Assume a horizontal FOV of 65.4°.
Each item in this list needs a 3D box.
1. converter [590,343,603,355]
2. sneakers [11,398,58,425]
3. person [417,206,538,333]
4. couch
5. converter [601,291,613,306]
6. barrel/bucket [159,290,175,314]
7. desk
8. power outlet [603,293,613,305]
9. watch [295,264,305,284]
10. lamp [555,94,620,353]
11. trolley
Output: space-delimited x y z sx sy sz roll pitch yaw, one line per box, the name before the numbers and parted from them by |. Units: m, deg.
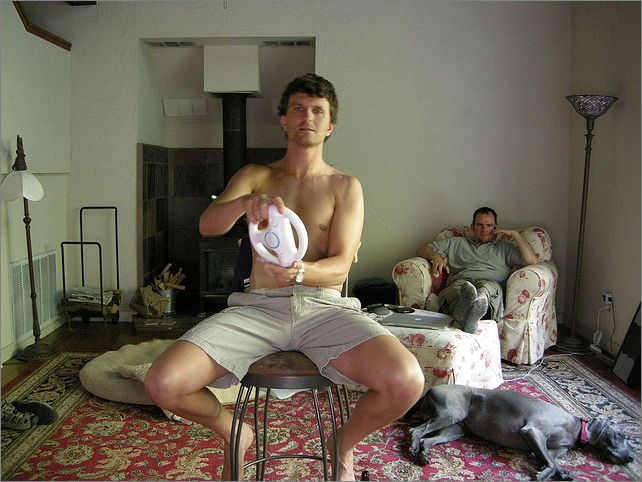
converter | 2.081 0.811 3.758 0.068 0.052 0.019 31 -6 39
sneakers | -1.616 0.939 2.815 0.275 0.110 0.106 6 21 9
person | 1.149 0.186 3.598 0.678 0.550 0.950 5 12 21
couch | 1.329 0.375 4.130 1.196 1.029 0.941 1 3 41
converter | 2.162 0.433 3.741 0.068 0.121 0.130 1 -4 6
barrel/bucket | -1.375 0.533 4.431 0.135 0.218 0.136 3 25 -2
desk | 0.735 0.766 3.333 0.936 0.409 0.994 -2 -3 21
power outlet | 2.163 0.430 3.748 0.044 0.082 0.088 4 0 -3
watch | -0.068 0.119 1.785 0.015 0.062 0.043 7 18 13
lamp | 2.034 -0.166 3.931 0.383 1.943 0.679 7 12 25
trolley | -1.972 0.207 4.266 0.474 1.028 0.453 -1 14 -22
